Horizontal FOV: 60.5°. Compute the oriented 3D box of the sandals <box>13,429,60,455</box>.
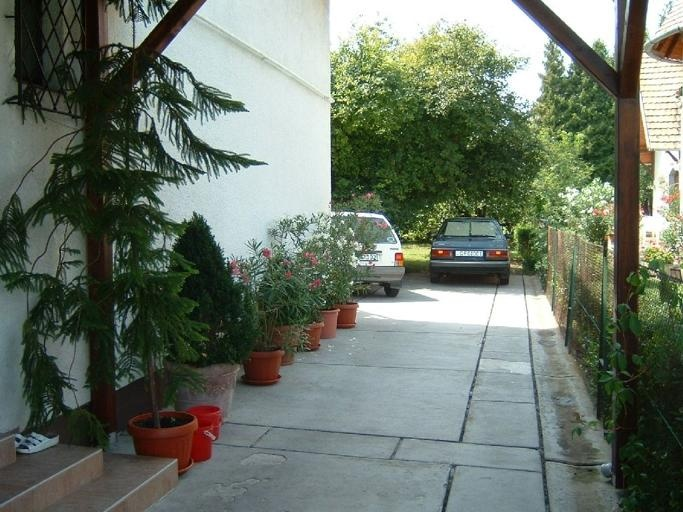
[{"bbox_3d":[-2.400,1.450,4.640,0.126,0.080,0.254,0,-7,26],"label":"sandals"}]

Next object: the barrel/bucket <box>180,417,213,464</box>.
[{"bbox_3d":[-1.233,1.639,5.264,0.341,0.363,0.331,2,-3,0],"label":"barrel/bucket"}]

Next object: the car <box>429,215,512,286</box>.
[{"bbox_3d":[3.483,-0.231,15.960,2.042,1.655,0.979,-1,0,11],"label":"car"}]

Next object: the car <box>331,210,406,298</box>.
[{"bbox_3d":[0.814,0.046,12.590,1.024,0.992,2.012,2,18,4],"label":"car"}]

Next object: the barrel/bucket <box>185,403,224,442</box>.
[{"bbox_3d":[-1.278,1.477,5.461,0.320,0.271,0.333,0,-1,0],"label":"barrel/bucket"}]
